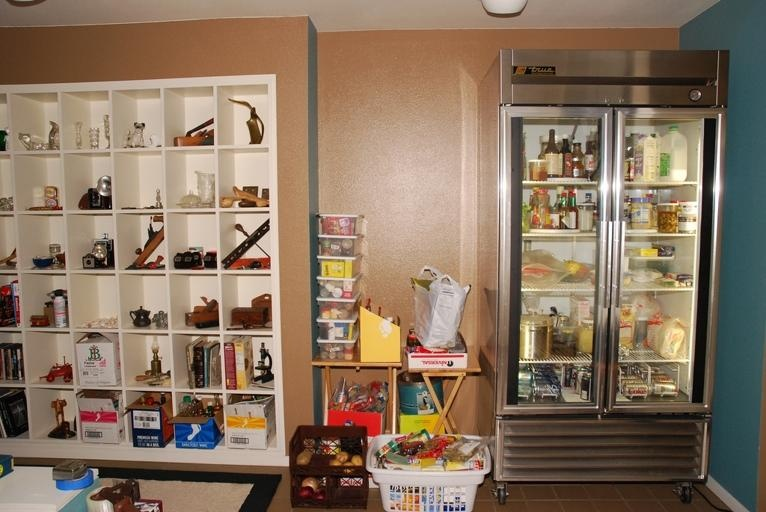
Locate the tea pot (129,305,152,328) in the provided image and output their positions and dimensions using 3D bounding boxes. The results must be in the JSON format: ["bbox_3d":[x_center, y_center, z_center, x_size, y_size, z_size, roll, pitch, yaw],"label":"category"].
[{"bbox_3d":[-1.868,0.473,5.162,0.174,0.166,0.118,0,5,-16],"label":"tea pot"}]

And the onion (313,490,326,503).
[{"bbox_3d":[-0.436,1.693,4.664,0.067,0.072,0.047,-3,3,-13],"label":"onion"}]

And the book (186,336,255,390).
[{"bbox_3d":[-1.269,0.825,5.163,0.527,0.397,0.201,-2,3,7],"label":"book"}]

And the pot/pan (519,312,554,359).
[{"bbox_3d":[1.099,0.587,4.854,0.287,0.297,0.281,0,1,-7],"label":"pot/pan"}]

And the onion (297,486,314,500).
[{"bbox_3d":[-0.530,1.650,4.648,0.097,0.095,0.099,-10,-13,-1],"label":"onion"}]

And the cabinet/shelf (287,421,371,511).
[{"bbox_3d":[-0.341,1.501,4.900,0.875,0.672,0.469,0,-3,1],"label":"cabinet/shelf"}]

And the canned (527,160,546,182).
[{"bbox_3d":[1.083,-0.605,4.639,0.141,0.141,0.141,0,-1,17],"label":"canned"}]

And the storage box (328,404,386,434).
[{"bbox_3d":[-0.189,1.222,4.944,0.368,0.235,0.194,1,2,4],"label":"storage box"}]

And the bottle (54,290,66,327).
[{"bbox_3d":[-2.509,0.409,5.183,0.093,0.286,0.134,-3,3,-23],"label":"bottle"}]

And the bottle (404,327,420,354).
[{"bbox_3d":[0.226,0.645,5.027,0.129,0.215,0.131,0,4,0],"label":"bottle"}]

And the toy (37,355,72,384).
[{"bbox_3d":[-2.646,0.925,5.268,0.330,0.186,0.106,-3,6,-22],"label":"toy"}]

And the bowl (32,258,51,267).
[{"bbox_3d":[-2.634,0.045,5.152,0.096,0.047,0.094,0,0,0],"label":"bowl"}]

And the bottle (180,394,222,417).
[{"bbox_3d":[-1.427,1.178,5.225,0.208,0.120,0.192,1,3,0],"label":"bottle"}]

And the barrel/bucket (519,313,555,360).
[{"bbox_3d":[1.101,0.595,4.846,0.290,0.298,0.285,0,1,0],"label":"barrel/bucket"}]

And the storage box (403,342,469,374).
[{"bbox_3d":[0.404,0.753,4.898,0.428,0.176,0.120,-2,3,0],"label":"storage box"}]

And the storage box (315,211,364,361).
[{"bbox_3d":[-0.320,0.226,5.039,0.379,1.097,0.232,-3,3,-15],"label":"storage box"}]

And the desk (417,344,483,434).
[{"bbox_3d":[0.502,1.038,5.164,0.661,0.670,0.403,-1,7,3],"label":"desk"}]

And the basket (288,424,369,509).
[{"bbox_3d":[-0.303,1.479,4.889,0.865,0.665,0.469,0,-3,1],"label":"basket"}]

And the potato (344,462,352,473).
[{"bbox_3d":[-0.240,1.487,4.675,0.046,0.045,0.054,4,38,-2],"label":"potato"}]

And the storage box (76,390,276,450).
[{"bbox_3d":[-1.581,1.262,5.173,1.535,0.471,0.269,-2,3,4],"label":"storage box"}]

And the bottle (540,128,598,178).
[{"bbox_3d":[1.319,-0.723,4.650,0.368,0.331,0.122,1,-1,-4],"label":"bottle"}]

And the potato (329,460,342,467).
[{"bbox_3d":[-0.341,1.469,4.715,0.053,0.043,0.044,0,15,3],"label":"potato"}]

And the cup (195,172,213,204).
[{"bbox_3d":[-1.352,-0.520,5.103,0.126,0.265,0.057,-3,3,-15],"label":"cup"}]

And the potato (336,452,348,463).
[{"bbox_3d":[-0.290,1.437,4.740,0.057,0.038,0.070,3,16,2],"label":"potato"}]
